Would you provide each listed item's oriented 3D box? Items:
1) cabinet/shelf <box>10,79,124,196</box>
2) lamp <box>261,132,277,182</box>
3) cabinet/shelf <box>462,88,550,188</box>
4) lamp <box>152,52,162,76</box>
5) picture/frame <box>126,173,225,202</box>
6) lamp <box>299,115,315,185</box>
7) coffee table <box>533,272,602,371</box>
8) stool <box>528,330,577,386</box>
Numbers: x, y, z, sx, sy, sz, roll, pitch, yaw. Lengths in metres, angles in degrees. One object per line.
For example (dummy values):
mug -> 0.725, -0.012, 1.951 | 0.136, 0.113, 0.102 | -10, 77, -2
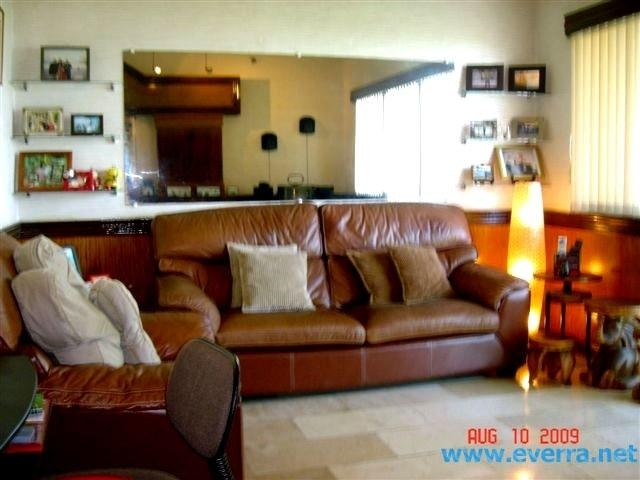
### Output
cabinet/shelf -> -2.103, -0.867, 4.369 | 0.895, 1.046, 0.296 | 0, 1, -18
lamp -> -0.443, -0.723, 4.678 | 0.153, 0.432, 0.037 | -2, 9, -6
cabinet/shelf -> 1.732, -0.824, 5.311 | 1.067, 1.090, 0.717 | -1, 1, -1
lamp -> -1.361, -1.477, 4.470 | 0.074, 0.175, 0.027 | 1, 9, 10
picture/frame -> -1.240, -0.456, 4.566 | 0.783, 0.243, 0.032 | -2, 9, -11
lamp -> -0.112, -0.806, 4.747 | 0.158, 0.603, 0.058 | -1, 9, -6
coffee table -> 1.836, 0.532, 4.086 | 0.464, 0.537, 0.470 | 0, -1, 1
stool -> 1.657, 0.830, 3.851 | 0.319, 0.374, 0.334 | 0, -1, 5
